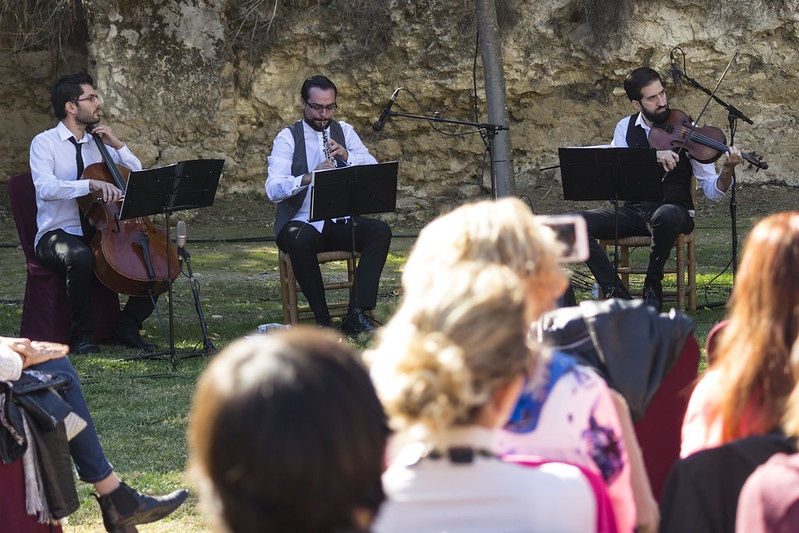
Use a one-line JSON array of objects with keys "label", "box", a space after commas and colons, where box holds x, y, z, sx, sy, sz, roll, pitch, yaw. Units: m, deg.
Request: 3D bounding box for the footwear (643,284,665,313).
[{"label": "footwear", "box": [2.287, 0.286, 11.076, 0.089, 0.258, 0.101, -4, -9, 32]}]

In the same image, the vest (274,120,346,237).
[{"label": "vest", "box": [-0.933, -0.846, 12.061, 0.710, 1.144, 0.556, -5, 29, -14]}]

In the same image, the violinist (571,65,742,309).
[{"label": "violinist", "box": [2.593, -0.693, 12.137, 2.060, 2.878, 1.398, 0, 8, -1]}]

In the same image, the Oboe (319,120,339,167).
[{"label": "Oboe", "box": [-0.697, -1.184, 11.901, 0.136, 0.580, 0.182, -16, -26, 10]}]

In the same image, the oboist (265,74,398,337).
[{"label": "oboist", "box": [-0.730, -0.597, 12.098, 1.094, 2.556, 1.236, -1, 4, -27]}]

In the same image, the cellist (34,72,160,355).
[{"label": "cellist", "box": [-2.946, -0.492, 11.675, 1.154, 2.641, 1.096, 4, 10, 19]}]
